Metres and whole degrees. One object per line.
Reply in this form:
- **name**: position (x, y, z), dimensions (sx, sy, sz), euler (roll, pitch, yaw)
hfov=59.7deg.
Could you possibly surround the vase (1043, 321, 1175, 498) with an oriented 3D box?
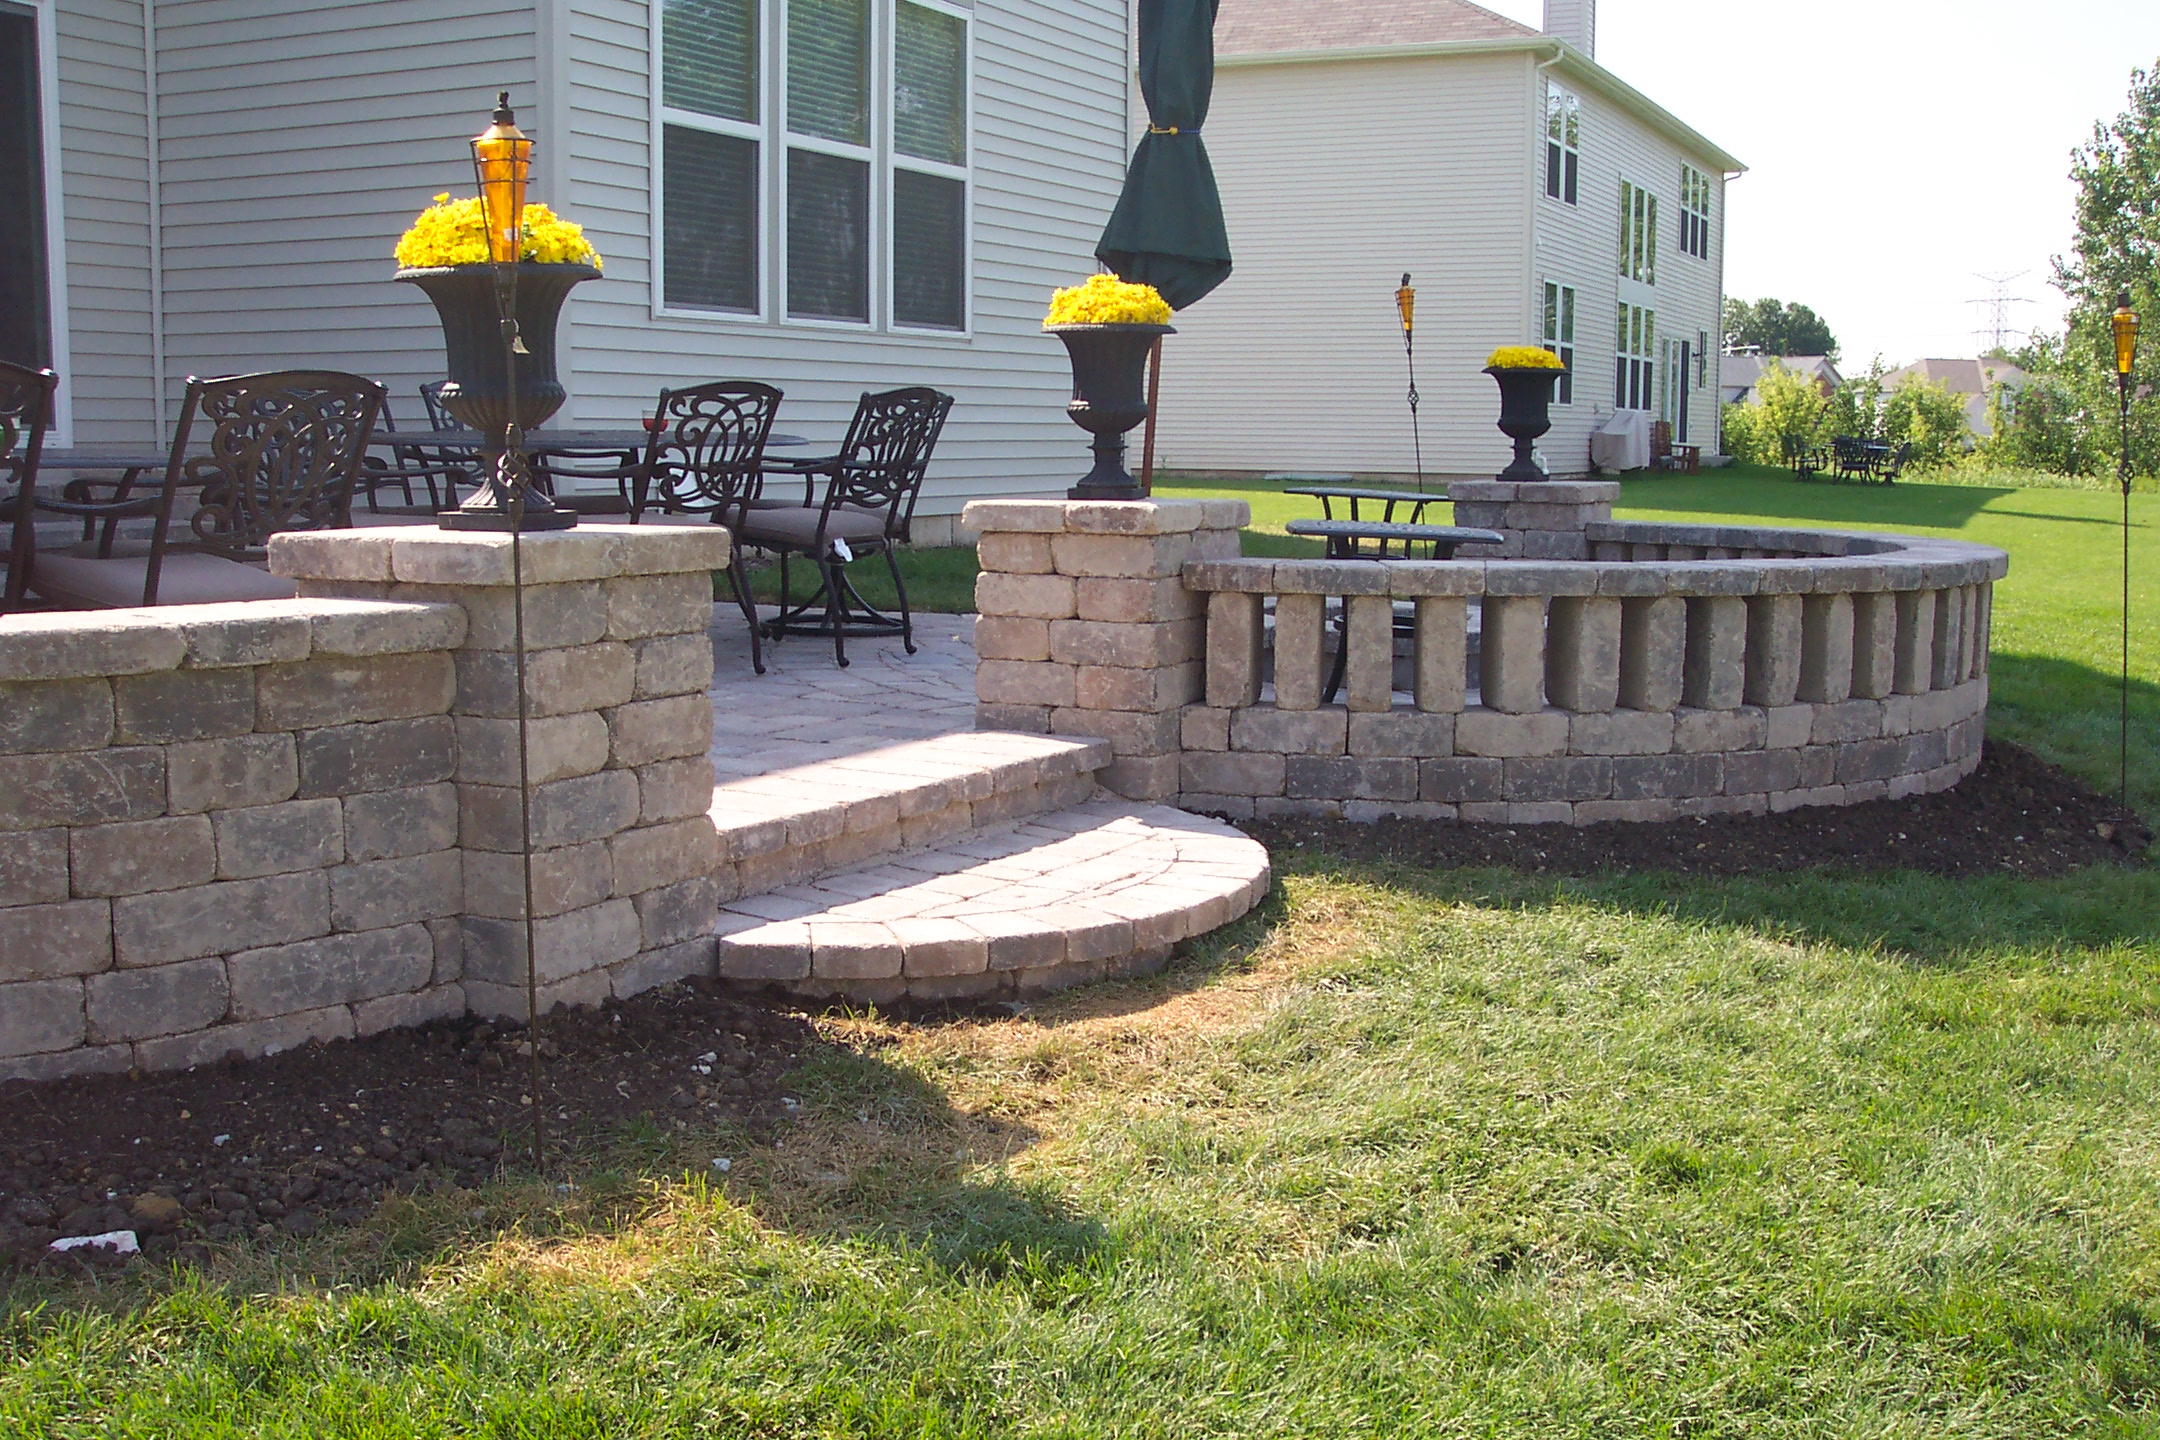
- **vase**: position (0.094, -1.142, 7.011), dimensions (0.563, 0.643, 0.573), euler (-1, 7, -7)

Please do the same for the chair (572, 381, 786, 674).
- **chair**: position (-1.635, -0.873, 8.103), dimensions (0.653, 1.245, 2.133), euler (0, 8, -11)

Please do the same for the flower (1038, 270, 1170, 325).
- **flower**: position (0.103, -1.531, 6.889), dimensions (0.425, 0.235, 0.439), euler (1, 8, -2)

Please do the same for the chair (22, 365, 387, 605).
- **chair**: position (-3.284, -0.855, 7.023), dimensions (0.991, 0.823, 2.725), euler (-3, 9, -29)

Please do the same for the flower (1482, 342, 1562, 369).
- **flower**: position (2.407, -1.966, 10.235), dimensions (0.345, 0.128, 0.290), euler (4, 8, 17)

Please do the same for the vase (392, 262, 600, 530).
- **vase**: position (-1.485, -0.817, 4.805), dimensions (0.641, 0.758, 0.688), euler (-1, 5, -5)
